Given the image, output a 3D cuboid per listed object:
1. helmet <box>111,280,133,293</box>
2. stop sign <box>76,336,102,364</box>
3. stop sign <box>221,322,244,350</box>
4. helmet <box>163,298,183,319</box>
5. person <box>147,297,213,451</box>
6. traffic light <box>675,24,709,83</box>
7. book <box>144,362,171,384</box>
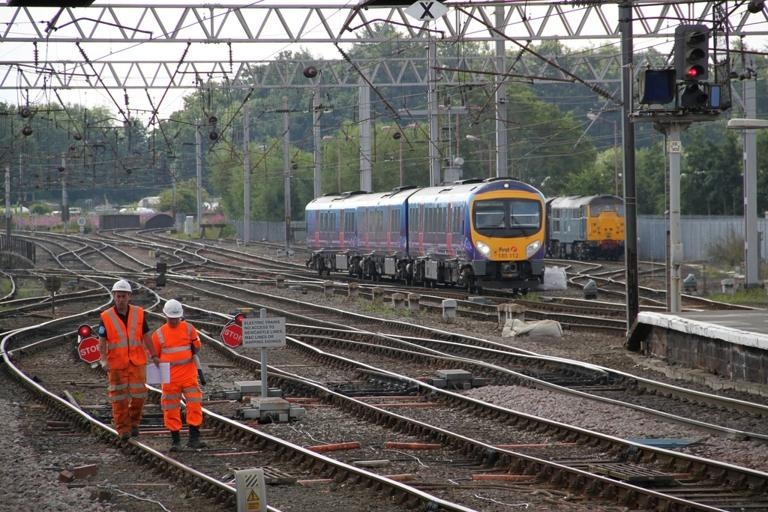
[{"bbox_3d":[-4.688,0.525,19.876,0.413,0.261,0.536,0,-6,-8],"label":"helmet"},{"bbox_3d":[-5.828,1.828,21.927,0.370,0.505,0.443,-2,3,-19],"label":"stop sign"},{"bbox_3d":[-3.130,1.599,22.906,0.378,0.508,0.423,-2,3,-13],"label":"stop sign"},{"bbox_3d":[-3.791,0.919,19.979,0.372,0.254,0.503,0,2,-13],"label":"helmet"},{"bbox_3d":[-3.680,2.150,19.889,0.868,2.751,0.463,-2,4,-11],"label":"person"},{"bbox_3d":[6.860,-4.567,24.943,0.731,1.189,0.479,0,4,13],"label":"traffic light"},{"bbox_3d":[-3.980,2.048,19.618,0.386,0.216,0.373,-1,-2,1],"label":"book"}]
